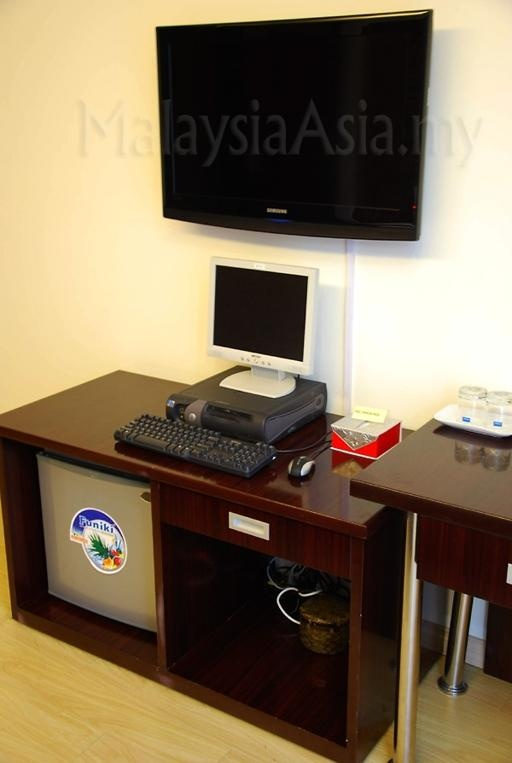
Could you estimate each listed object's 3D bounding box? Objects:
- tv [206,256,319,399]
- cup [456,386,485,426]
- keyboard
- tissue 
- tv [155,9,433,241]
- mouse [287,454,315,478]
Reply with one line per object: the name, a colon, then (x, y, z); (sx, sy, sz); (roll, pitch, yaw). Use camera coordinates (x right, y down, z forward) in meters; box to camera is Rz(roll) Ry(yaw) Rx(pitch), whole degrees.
tv: (0.023, -0.154, 1.633); (0.313, 0.350, 0.126); (12, 19, 34)
cup: (0.477, 0.057, 1.296); (0.060, 0.078, 0.069); (1, 8, 3)
keyboard: (-0.160, 0.155, 1.429); (0.437, 0.058, 0.137); (8, 14, 34)
tissue : (0.264, 0.089, 1.397); (0.124, 0.097, 0.128); (13, 22, 38)
tv: (0.060, -0.671, 1.510); (0.826, 0.603, 0.106); (8, 13, 37)
mouse: (0.106, 0.191, 1.293); (0.069, 0.038, 0.059); (-3, 11, -12)
